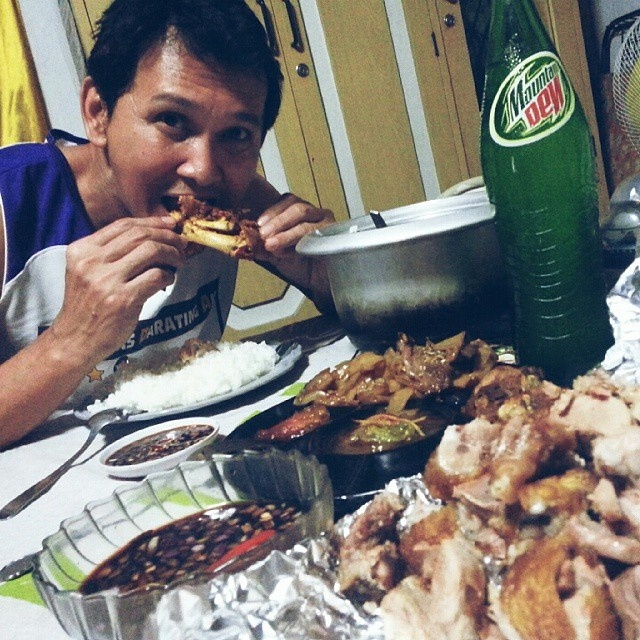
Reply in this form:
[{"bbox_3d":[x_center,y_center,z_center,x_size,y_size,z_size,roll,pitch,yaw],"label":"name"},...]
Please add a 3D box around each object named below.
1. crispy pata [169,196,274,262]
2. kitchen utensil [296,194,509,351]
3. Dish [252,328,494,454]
[{"bbox_3d":[-0.209,-0.187,1.560,0.184,0.123,0.085,9,-20,-18],"label":"crispy pata"},{"bbox_3d":[0.147,-0.064,1.097,0.317,0.190,0.324,-16,9,-13],"label":"kitchen utensil"},{"bbox_3d":[0.084,0.088,0.972,0.236,0.051,0.168,-20,4,11],"label":"Dish"}]
